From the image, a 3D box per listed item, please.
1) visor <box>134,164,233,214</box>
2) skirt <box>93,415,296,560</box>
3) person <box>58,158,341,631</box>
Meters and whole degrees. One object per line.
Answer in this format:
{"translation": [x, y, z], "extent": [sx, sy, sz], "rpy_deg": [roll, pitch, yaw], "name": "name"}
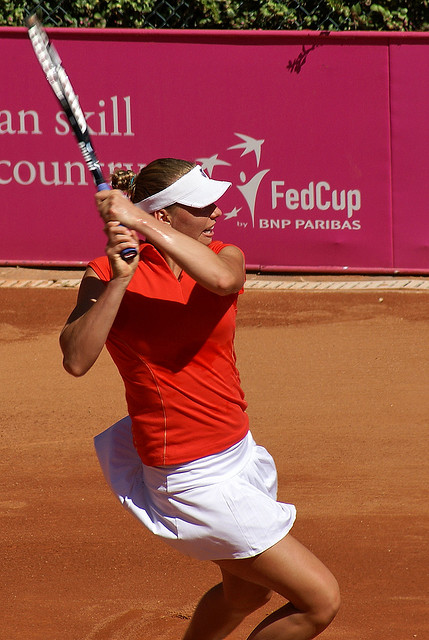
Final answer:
{"translation": [-0.083, -0.356, 2.064], "extent": [0.213, 0.062, 0.131], "rpy_deg": [-18, 8, 19], "name": "visor"}
{"translation": [-0.076, 0.497, 2.125], "extent": [0.607, 0.339, 0.304], "rpy_deg": [0, 16, 12], "name": "skirt"}
{"translation": [-0.021, 0.279, 2.105], "extent": [0.717, 1.443, 0.496], "rpy_deg": [-2, 16, 8], "name": "person"}
